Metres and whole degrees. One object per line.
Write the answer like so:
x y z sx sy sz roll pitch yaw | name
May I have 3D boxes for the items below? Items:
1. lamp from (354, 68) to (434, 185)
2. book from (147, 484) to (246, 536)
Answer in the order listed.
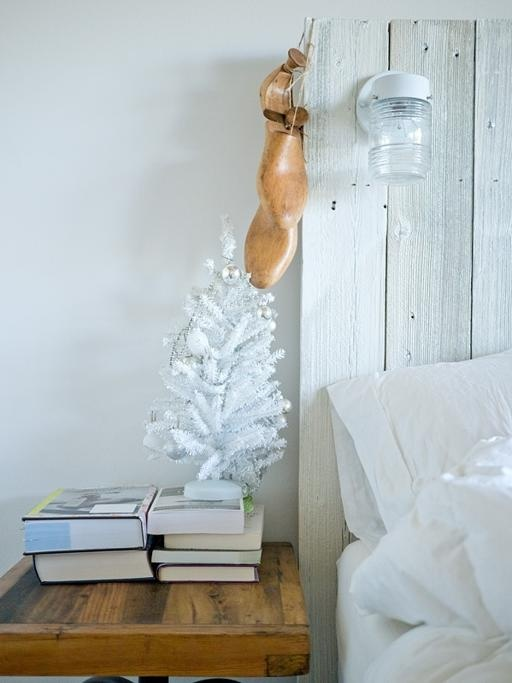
0.235 -0.353 1.167 0.104 0.180 0.104 3 19 12 | lamp
-0.094 0.263 1.152 0.147 0.044 0.145 0 17 0 | book
